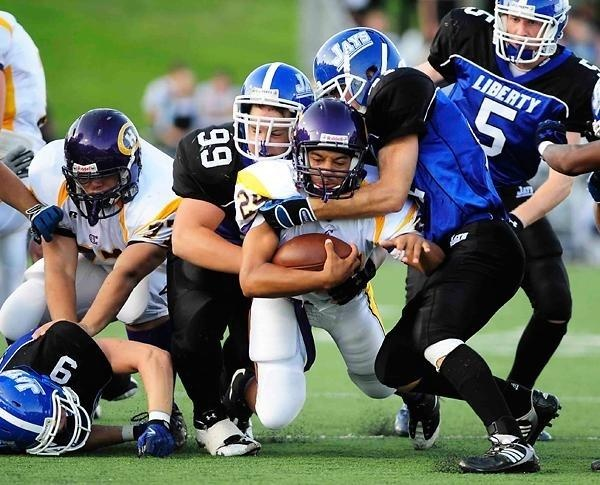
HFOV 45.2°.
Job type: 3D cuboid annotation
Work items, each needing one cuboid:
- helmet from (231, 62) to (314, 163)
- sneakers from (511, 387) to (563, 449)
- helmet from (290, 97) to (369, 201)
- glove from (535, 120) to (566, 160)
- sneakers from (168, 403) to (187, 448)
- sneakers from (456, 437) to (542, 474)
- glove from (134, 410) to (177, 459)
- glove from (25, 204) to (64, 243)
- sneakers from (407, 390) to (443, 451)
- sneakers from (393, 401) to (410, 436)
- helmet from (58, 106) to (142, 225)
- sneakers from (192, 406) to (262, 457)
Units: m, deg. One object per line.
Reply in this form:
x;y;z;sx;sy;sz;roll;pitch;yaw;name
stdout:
-0.122;-0.548;2.911;0.301;0.379;0.412;4;10;17;helmet
0.947;0.713;2.920;0.119;0.292;0.095;-10;20;-23;sneakers
0.092;-0.359;2.747;0.249;0.303;0.352;5;9;-3;helmet
1.002;-0.422;2.918;0.103;0.055;0.185;10;32;1;glove
-0.511;0.754;3.008;0.060;0.170;0.072;-5;-13;-41;sneakers
0.673;0.709;2.448;0.298;0.139;0.104;2;-6;-1;sneakers
-0.539;0.681;2.656;0.136;0.166;0.217;-7;30;-15;glove
-1.070;-0.082;3.050;0.147;0.155;0.065;12;9;15;glove
0.512;0.714;3.016;0.090;0.281;0.124;2;10;15;sneakers
0.470;0.811;3.335;0.050;0.067;0.154;2;36;5;sneakers
-0.837;-0.328;3.097;0.324;0.419;0.318;-6;29;-13;helmet
-0.299;0.732;2.805;0.121;0.129;0.291;2;-4;-33;sneakers
